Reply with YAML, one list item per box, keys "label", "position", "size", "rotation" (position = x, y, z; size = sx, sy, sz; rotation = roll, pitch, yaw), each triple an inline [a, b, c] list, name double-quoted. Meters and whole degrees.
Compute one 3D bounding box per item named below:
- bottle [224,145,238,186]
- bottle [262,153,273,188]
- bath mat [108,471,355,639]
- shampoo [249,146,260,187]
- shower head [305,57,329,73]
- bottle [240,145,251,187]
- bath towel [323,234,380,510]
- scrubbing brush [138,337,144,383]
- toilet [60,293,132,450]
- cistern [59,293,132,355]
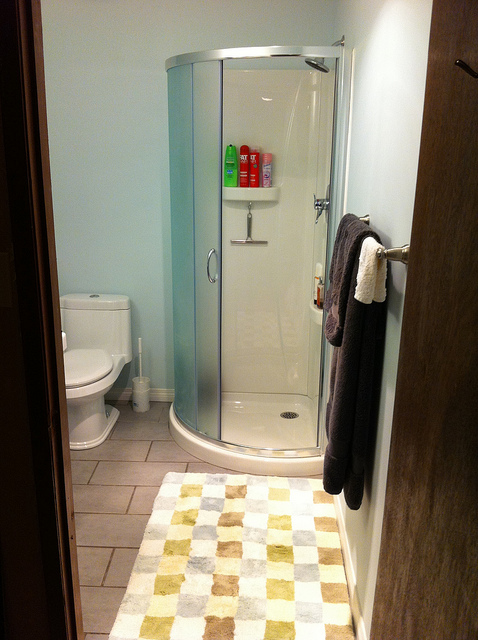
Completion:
- label: "bottle"
  position: [-0.041, -0.787, 2.608]
  size: [0.067, 0.201, 0.072]
  rotation: [-1, 46, 1]
- label: "bottle"
  position: [0.144, -0.771, 2.667]
  size: [0.054, 0.164, 0.026]
  rotation: [2, 10, 8]
- label: "bath mat"
  position: [0.013, 0.912, 2.132]
  size: [0.829, 0.031, 1.014]
  rotation: [1, 14, 2]
- label: "shampoo"
  position: [0.076, -0.783, 2.652]
  size: [0.053, 0.200, 0.038]
  rotation: [0, 10, -1]
- label: "shower head"
  position: [0.346, -1.135, 2.310]
  size: [0.109, 0.051, 0.050]
  rotation: [0, 12, -4]
- label: "bottle"
  position: [0.032, -0.782, 2.641]
  size: [0.057, 0.198, 0.046]
  rotation: [0, 10, -3]
- label: "bath towel"
  position: [0.345, 0.174, 1.603]
  size: [0.118, 0.875, 0.208]
  rotation: [-1, 10, -5]
- label: "scrubbing brush"
  position: [-0.642, 0.252, 3.359]
  size: [0.031, 0.272, 0.149]
  rotation: [-2, 11, -11]
- label: "toilet"
  position: [-0.904, 0.306, 3.087]
  size: [0.321, 0.797, 0.627]
  rotation: [2, 15, 0]
- label: "cistern"
  position: [-0.896, 0.015, 3.242]
  size: [0.356, 0.454, 0.395]
  rotation: [0, 17, -12]
